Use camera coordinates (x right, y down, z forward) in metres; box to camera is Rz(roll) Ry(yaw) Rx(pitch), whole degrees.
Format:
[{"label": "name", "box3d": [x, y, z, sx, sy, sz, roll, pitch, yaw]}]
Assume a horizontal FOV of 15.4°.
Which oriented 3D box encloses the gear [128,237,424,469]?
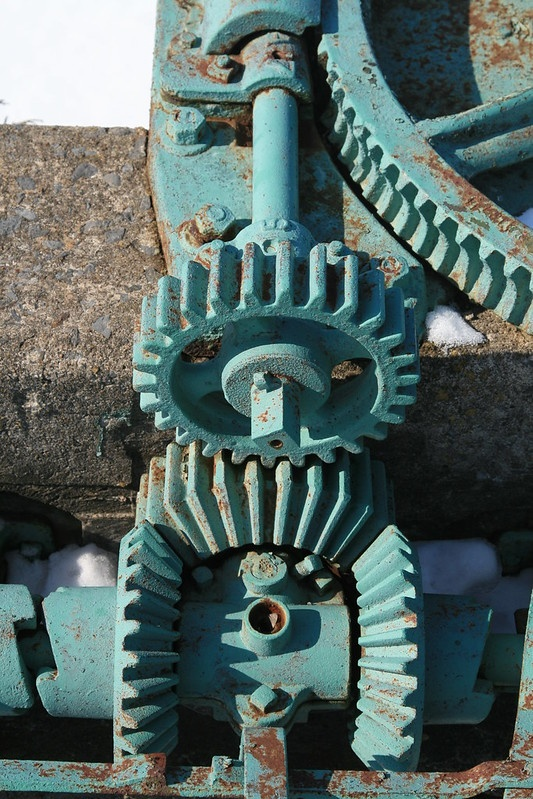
[{"label": "gear", "box3d": [0.037, -0.081, 6.192, 0.918, 0.895, 0.499, -2, 50, 3]}]
